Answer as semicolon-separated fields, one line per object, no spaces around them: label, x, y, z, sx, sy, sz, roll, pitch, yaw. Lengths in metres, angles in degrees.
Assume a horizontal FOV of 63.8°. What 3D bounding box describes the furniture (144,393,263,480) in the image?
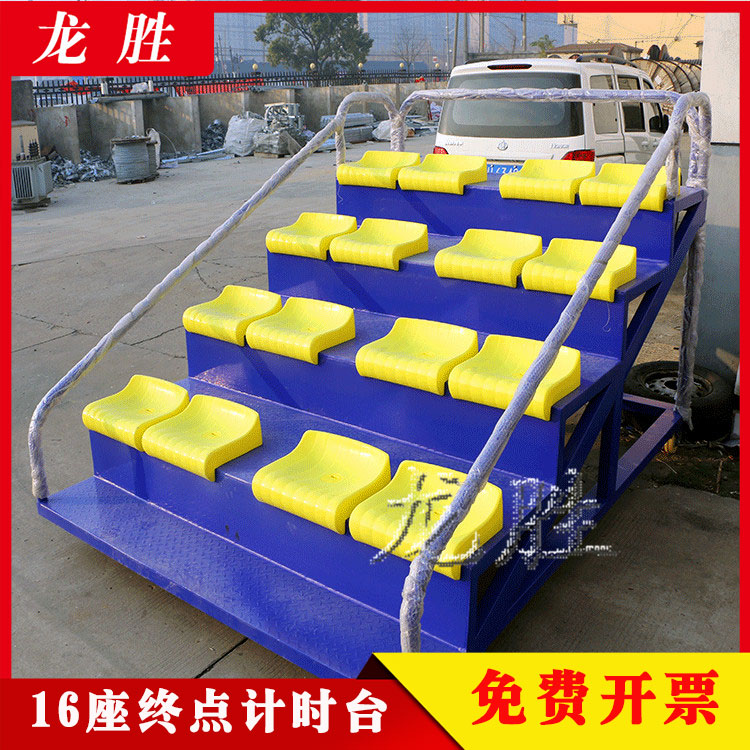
furniture;-0.823;0.293;2.916;0.422;0.208;0.514;-20;26;-40

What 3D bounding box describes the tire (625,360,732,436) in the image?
tire;2.083;0.154;4.156;0.600;0.178;0.569;-9;17;-23

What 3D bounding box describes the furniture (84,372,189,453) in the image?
furniture;-1.229;0.174;3.194;0.460;0.170;0.434;13;24;32

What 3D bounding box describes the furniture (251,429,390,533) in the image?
furniture;-0.213;0.440;2.550;0.481;0.193;0.414;10;29;33

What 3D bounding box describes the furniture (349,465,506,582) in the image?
furniture;0.195;0.529;2.239;0.478;0.214;0.458;9;19;30

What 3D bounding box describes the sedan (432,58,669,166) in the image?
sedan;2.165;-2.672;7.001;1.663;1.570;3.106;14;27;33
